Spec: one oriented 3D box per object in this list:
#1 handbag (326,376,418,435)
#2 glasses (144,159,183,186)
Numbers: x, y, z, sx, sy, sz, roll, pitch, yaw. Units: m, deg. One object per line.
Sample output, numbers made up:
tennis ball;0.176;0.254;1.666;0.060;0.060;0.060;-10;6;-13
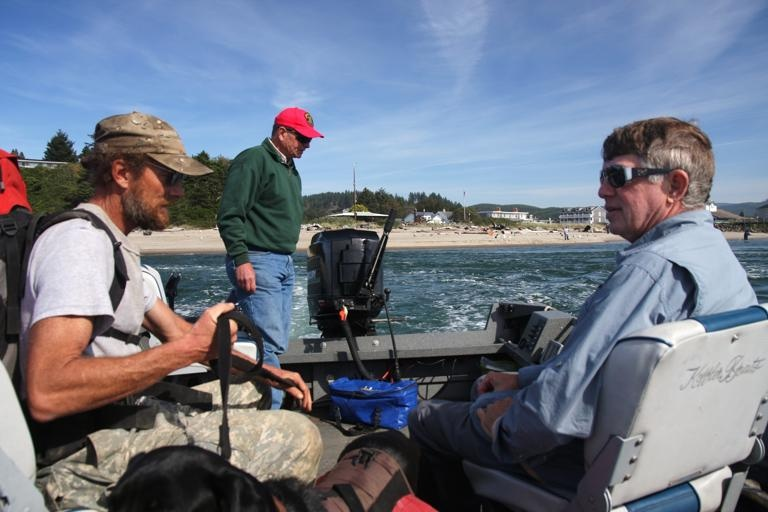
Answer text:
handbag;-0.089;1.071;3.769;0.727;0.311;0.554;-8;-13;34
glasses;-0.927;-0.354;2.148;0.117;0.032;0.087;26;5;20
